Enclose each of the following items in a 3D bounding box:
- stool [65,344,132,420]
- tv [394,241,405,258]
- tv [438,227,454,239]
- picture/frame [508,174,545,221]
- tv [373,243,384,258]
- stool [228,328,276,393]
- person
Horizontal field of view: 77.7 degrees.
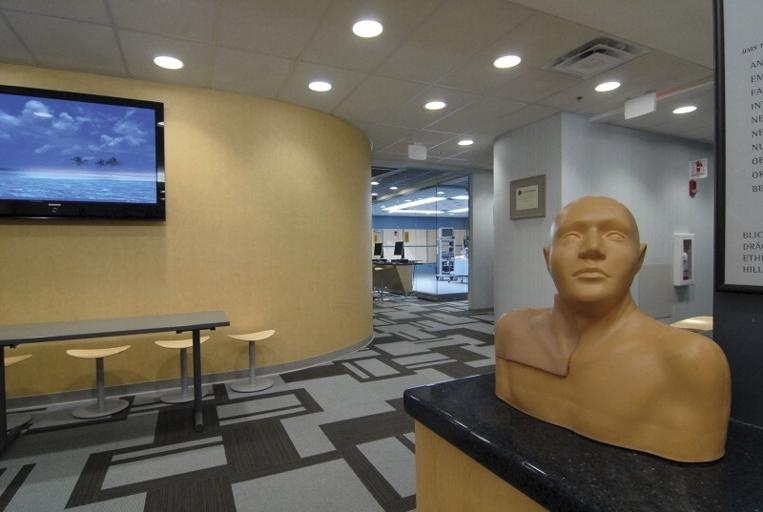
[{"bbox_3d":[-2.444,1.072,4.198,0.583,0.574,0.520,-2,6,-31],"label":"stool"},{"bbox_3d":[0.427,-0.161,11.843,0.311,0.400,0.206,-10,-36,25],"label":"tv"},{"bbox_3d":[1.353,-0.512,9.976,0.364,0.324,0.201,0,-4,0],"label":"tv"},{"bbox_3d":[1.831,-0.749,5.924,0.045,0.559,0.594,0,5,-28],"label":"picture/frame"},{"bbox_3d":[-0.035,-0.163,12.407,0.197,0.350,0.362,0,-1,8],"label":"tv"},{"bbox_3d":[-1.238,1.025,4.730,0.466,0.526,0.530,0,-1,-11],"label":"stool"},{"bbox_3d":[0.877,0.239,1.958,0.480,0.917,0.940,11,-6,-37],"label":"person"}]
